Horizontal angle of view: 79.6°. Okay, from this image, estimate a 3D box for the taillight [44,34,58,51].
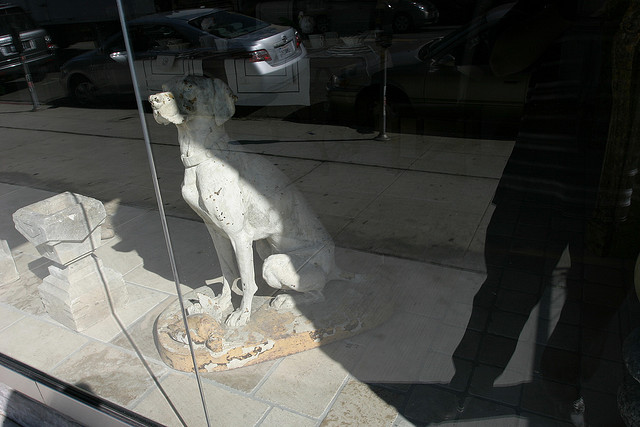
[{"bbox_3d":[-1.301,-0.821,1.847,0.091,0.056,0.023,-1,22,34],"label":"taillight"}]
